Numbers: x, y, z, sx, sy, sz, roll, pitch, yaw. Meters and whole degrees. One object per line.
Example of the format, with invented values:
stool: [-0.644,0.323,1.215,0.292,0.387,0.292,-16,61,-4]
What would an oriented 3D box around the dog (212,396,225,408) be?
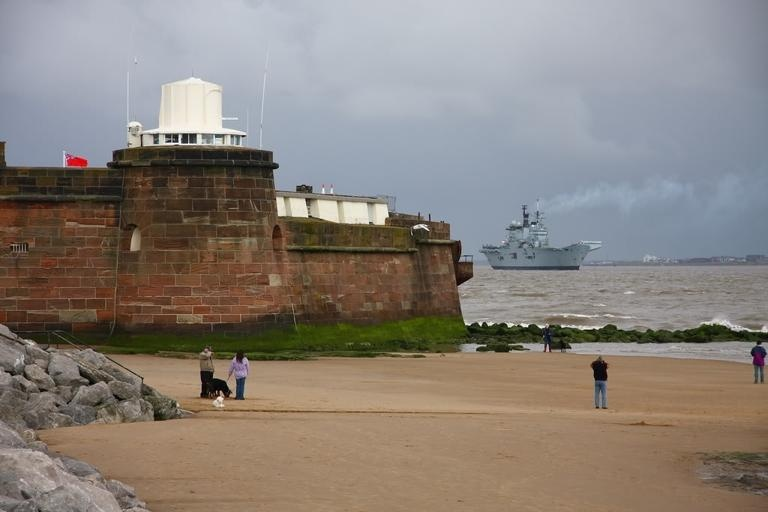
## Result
dog: [-3.839,3.334,24.002,0.315,0.279,0.203,0,1,4]

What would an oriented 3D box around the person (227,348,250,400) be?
person: [-3.514,2.841,25.057,0.420,1.147,1.052,-1,-6,-9]

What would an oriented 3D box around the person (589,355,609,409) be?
person: [5.463,3.157,26.343,0.353,1.290,1.181,-3,-6,10]

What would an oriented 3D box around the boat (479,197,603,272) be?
boat: [22.996,-2.232,158.524,7.175,7.994,18.177,2,-7,-36]

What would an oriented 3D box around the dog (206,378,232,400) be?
dog: [-3.973,3.133,24.868,0.571,0.460,0.422,-1,-6,-8]
